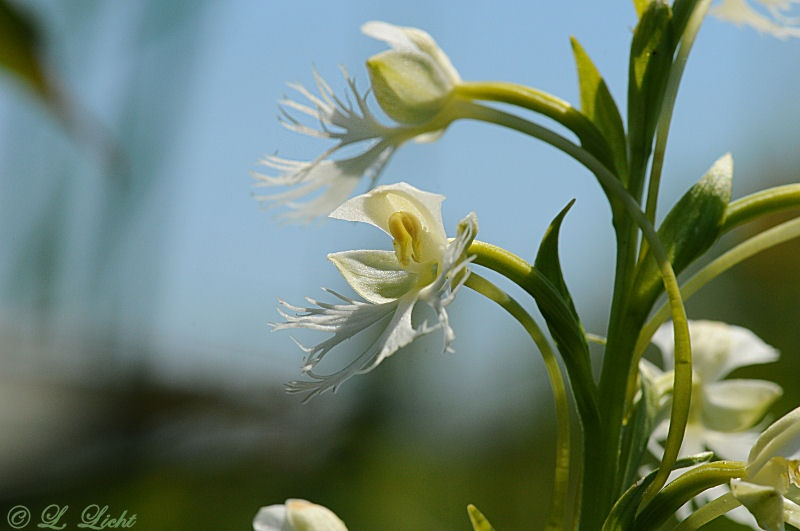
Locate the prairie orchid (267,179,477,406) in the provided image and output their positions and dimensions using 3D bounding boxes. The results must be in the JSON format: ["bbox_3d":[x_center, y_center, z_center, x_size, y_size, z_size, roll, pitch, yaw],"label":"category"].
[{"bbox_3d":[-0.075,0.053,2.527,0.510,0.490,0.213,-29,-17,3],"label":"prairie orchid"}]
